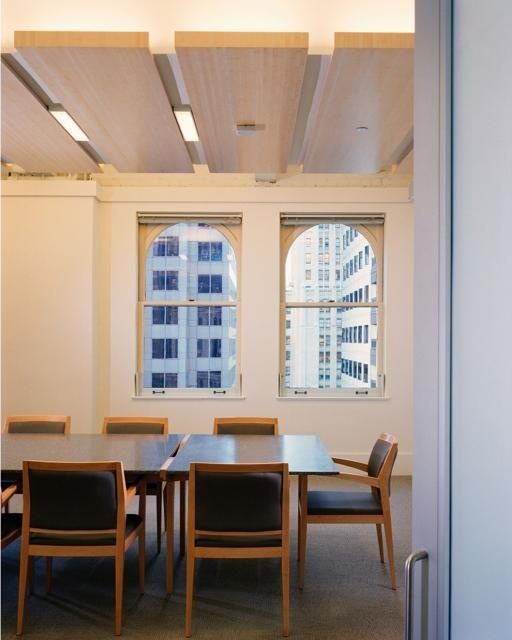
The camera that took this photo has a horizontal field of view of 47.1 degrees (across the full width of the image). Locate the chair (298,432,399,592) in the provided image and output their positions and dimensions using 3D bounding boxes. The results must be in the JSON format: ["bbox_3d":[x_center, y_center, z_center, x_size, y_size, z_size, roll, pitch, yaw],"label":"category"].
[{"bbox_3d":[0.512,1.066,3.351,0.514,0.841,0.529,0,-2,14],"label":"chair"}]

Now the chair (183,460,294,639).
[{"bbox_3d":[-0.088,0.983,2.716,0.511,1.078,0.642,0,0,1],"label":"chair"}]
